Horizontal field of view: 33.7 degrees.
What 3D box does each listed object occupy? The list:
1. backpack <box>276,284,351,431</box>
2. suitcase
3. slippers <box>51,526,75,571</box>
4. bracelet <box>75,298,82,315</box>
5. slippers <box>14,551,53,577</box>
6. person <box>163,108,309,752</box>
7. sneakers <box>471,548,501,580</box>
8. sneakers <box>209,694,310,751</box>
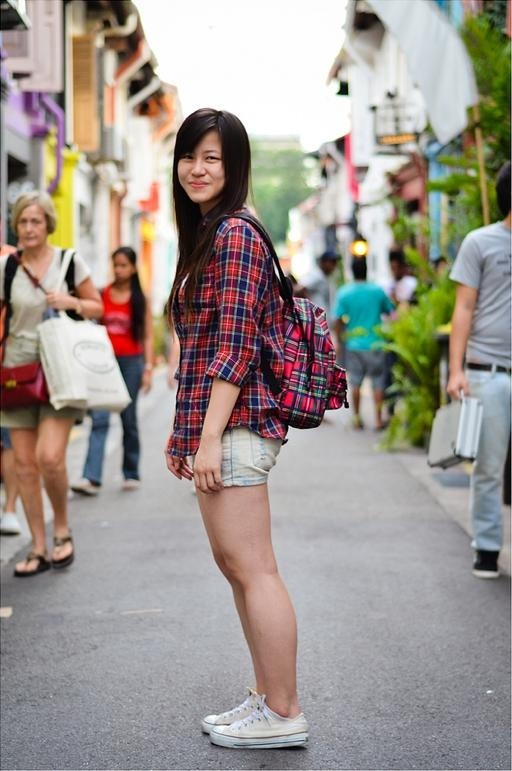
[{"bbox_3d":[0.134,-0.039,2.214,0.264,0.439,0.367,1,-6,6],"label":"backpack"},{"bbox_3d":[0.605,0.141,2.562,0.076,0.227,0.233,10,5,-13],"label":"suitcase"},{"bbox_3d":[-0.600,0.509,2.601,0.069,0.082,0.095,-4,15,-9],"label":"slippers"},{"bbox_3d":[-0.685,-0.299,3.250,0.017,0.045,0.033,-9,30,6],"label":"bracelet"},{"bbox_3d":[-0.685,0.543,2.569,0.113,0.056,0.061,-1,6,1],"label":"slippers"},{"bbox_3d":[-0.060,0.154,2.103,0.331,1.619,0.443,-4,15,-7],"label":"person"},{"bbox_3d":[0.666,0.518,2.443,0.040,0.054,0.120,1,1,2],"label":"sneakers"},{"bbox_3d":[0.000,0.874,2.224,0.290,0.142,0.122,2,-1,10],"label":"sneakers"}]
